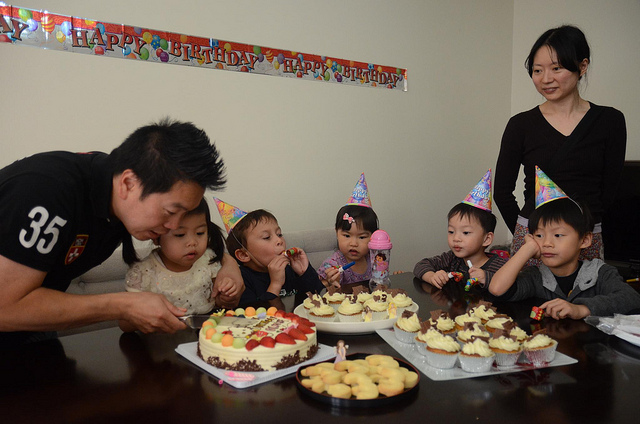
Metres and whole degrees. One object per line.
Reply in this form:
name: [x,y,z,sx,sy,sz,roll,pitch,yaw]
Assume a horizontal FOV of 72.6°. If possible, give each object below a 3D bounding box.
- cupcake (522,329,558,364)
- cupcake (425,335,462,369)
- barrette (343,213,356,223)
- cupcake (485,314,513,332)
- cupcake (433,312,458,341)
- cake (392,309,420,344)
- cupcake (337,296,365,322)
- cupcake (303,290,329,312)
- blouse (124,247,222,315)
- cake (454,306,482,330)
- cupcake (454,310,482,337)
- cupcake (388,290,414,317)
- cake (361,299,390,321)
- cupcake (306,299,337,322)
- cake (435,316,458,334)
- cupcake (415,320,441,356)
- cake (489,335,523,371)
cupcake: [0.796,0.486,1.594,0.118,0.111,0.111,-8,8,-2]
cupcake: [0.448,0.511,1.597,0.121,0.105,0.111,4,-3,31]
barrette: [0.208,0.051,3.057,0.060,0.032,0.059,19,-16,-11]
cupcake: [0.718,0.448,1.755,0.073,0.046,0.075,0,-6,1]
cupcake: [0.502,0.463,1.795,0.102,0.100,0.102,0,2,-25]
cake: [0.345,0.469,1.773,0.101,0.105,0.119,4,-4,5]
cupcake: [0.131,0.445,1.959,0.136,0.107,0.138,-5,-8,26]
cupcake: [-0.024,0.412,2.004,0.086,0.055,0.087,0,7,11]
blouse: [-0.760,0.393,2.324,0.486,0.386,0.243,-10,14,-17]
cake: [0.625,0.449,1.837,0.083,0.076,0.085,2,-8,-4]
cupcake: [0.615,0.472,1.837,0.082,0.051,0.084,-3,0,3]
cupcake: [0.357,0.422,2.002,0.135,0.123,0.138,-1,-3,0]
cake: [0.242,0.438,1.923,0.082,0.075,0.080,1,-5,-1]
cupcake: [0.002,0.444,1.912,0.133,0.078,0.159,-4,13,8]
cake: [0.506,0.454,1.742,0.072,0.043,0.072,-1,4,-19]
cupcake: [0.412,0.481,1.672,0.098,0.121,0.099,-1,-19,-10]
cake: [0.663,0.507,1.561,0.104,0.105,0.116,1,-10,1]
